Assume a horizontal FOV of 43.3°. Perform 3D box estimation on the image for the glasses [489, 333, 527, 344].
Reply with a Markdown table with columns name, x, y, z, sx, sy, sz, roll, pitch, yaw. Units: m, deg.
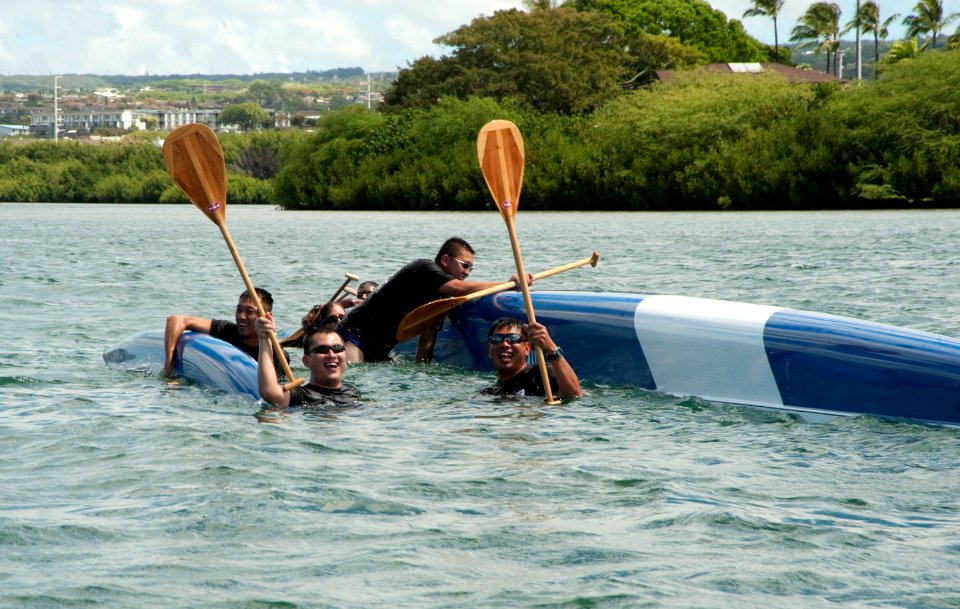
| name | x | y | z | sx | sy | sz | roll | pitch | yaw |
| --- | --- | --- | --- | --- | --- | --- | --- | --- | --- |
| glasses | 0.248 | 0.294 | 10.457 | 0.317 | 0.109 | 0.097 | -2 | 7 | -4 |

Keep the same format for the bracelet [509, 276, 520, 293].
| name | x | y | z | sx | sy | sz | roll | pitch | yaw |
| --- | --- | --- | --- | --- | --- | --- | --- | --- | --- |
| bracelet | 0.343 | -0.186 | 11.426 | 0.077 | 0.119 | 0.111 | -10 | 5 | -33 |

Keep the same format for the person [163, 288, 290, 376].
| name | x | y | z | sx | sy | sz | roll | pitch | yaw |
| --- | --- | --- | --- | --- | --- | --- | --- | --- | --- |
| person | -2.453 | 0.257 | 11.261 | 1.198 | 0.408 | 0.884 | 9 | 9 | 39 |

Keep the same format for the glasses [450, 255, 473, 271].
| name | x | y | z | sx | sy | sz | roll | pitch | yaw |
| --- | --- | --- | --- | --- | --- | --- | --- | --- | --- |
| glasses | -0.186 | -0.390 | 11.645 | 0.149 | 0.040 | 0.145 | 27 | 12 | 38 |

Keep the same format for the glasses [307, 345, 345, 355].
| name | x | y | z | sx | sy | sz | roll | pitch | yaw |
| --- | --- | --- | --- | --- | --- | --- | --- | --- | --- |
| glasses | -1.272 | 0.377 | 10.025 | 0.274 | 0.082 | 0.085 | -2 | 6 | -9 |
